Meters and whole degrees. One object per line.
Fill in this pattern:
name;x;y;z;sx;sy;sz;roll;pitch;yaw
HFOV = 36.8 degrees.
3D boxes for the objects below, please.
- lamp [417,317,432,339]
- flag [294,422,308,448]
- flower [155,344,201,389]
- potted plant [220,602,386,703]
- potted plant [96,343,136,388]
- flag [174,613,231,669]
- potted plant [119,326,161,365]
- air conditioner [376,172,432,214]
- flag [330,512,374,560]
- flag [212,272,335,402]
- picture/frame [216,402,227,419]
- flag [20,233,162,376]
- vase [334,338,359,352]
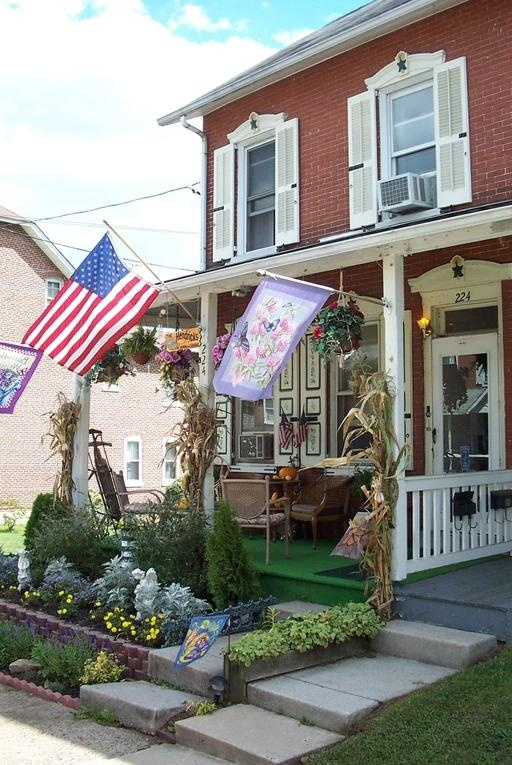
lamp;1.920;-0.633;8.821;0.149;0.240;0.128;-4;-7;25
flag;0.600;0.720;10.358;0.097;0.330;0.190;4;-8;-38
flower;-0.885;-0.158;8.623;0.441;0.422;0.443;5;5;28
potted plant;0.322;1.859;5.347;1.334;0.437;0.338;4;-8;-43
potted plant;-1.709;-0.187;9.566;0.475;0.510;0.507;-10;-9;39
flag;-0.384;1.617;4.844;0.251;0.338;0.377;-5;-7;33
potted plant;-1.330;-0.397;9.050;0.473;0.445;0.458;1;-5;3
air conditioner;1.660;-1.998;8.324;0.485;0.337;0.474;2;-5;-38
flag;0.799;1.276;6.307;0.161;0.363;0.449;24;20;-7
flag;0.087;-0.333;5.937;0.881;0.936;0.378;-5;-7;32
picture/frame;-0.451;0.379;10.040;0.037;0.351;0.361;-1;-1;-21
flag;-1.560;-0.731;7.367;1.519;1.255;0.382;-7;-8;43
vase;0.840;-0.335;7.250;0.163;0.110;0.145;-5;-7;40
